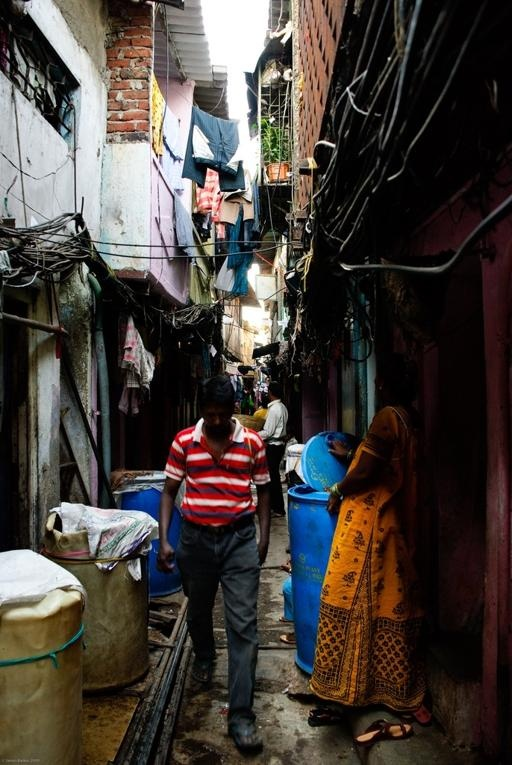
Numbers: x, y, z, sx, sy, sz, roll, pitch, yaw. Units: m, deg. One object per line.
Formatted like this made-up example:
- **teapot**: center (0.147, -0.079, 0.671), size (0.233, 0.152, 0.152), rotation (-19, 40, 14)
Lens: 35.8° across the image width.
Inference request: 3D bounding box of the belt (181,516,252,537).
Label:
- **belt**: center (-0.199, 0.722, 3.991), size (0.373, 0.102, 0.167), rotation (-4, 4, 0)

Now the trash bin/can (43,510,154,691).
- **trash bin/can**: center (-0.782, 1.185, 4.526), size (0.625, 0.991, 0.761), rotation (0, -4, 2)

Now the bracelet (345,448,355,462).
- **bracelet**: center (0.540, 0.424, 4.618), size (0.038, 0.068, 0.019), rotation (3, -12, -38)

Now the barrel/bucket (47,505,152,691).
- **barrel/bucket**: center (-0.726, 1.161, 4.510), size (0.633, 0.996, 0.771), rotation (0, -3, 1)

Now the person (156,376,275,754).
- **person**: center (-0.174, 0.827, 4.015), size (0.574, 1.727, 0.815), rotation (-6, 6, -39)

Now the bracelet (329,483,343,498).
- **bracelet**: center (0.397, 0.544, 3.995), size (0.046, 0.077, 0.069), rotation (0, 8, 6)

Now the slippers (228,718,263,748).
- **slippers**: center (-0.050, 1.630, 3.676), size (0.071, 0.111, 0.225), rotation (4, -22, -14)

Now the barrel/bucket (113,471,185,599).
- **barrel/bucket**: center (-0.674, 1.144, 5.956), size (0.405, 0.881, 0.453), rotation (-7, 0, -18)

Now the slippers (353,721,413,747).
- **slippers**: center (0.582, 1.592, 3.652), size (0.247, 0.111, 0.119), rotation (-12, -13, -6)

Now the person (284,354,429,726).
- **person**: center (0.535, 0.785, 3.970), size (0.580, 1.792, 0.575), rotation (-1, 4, 8)
